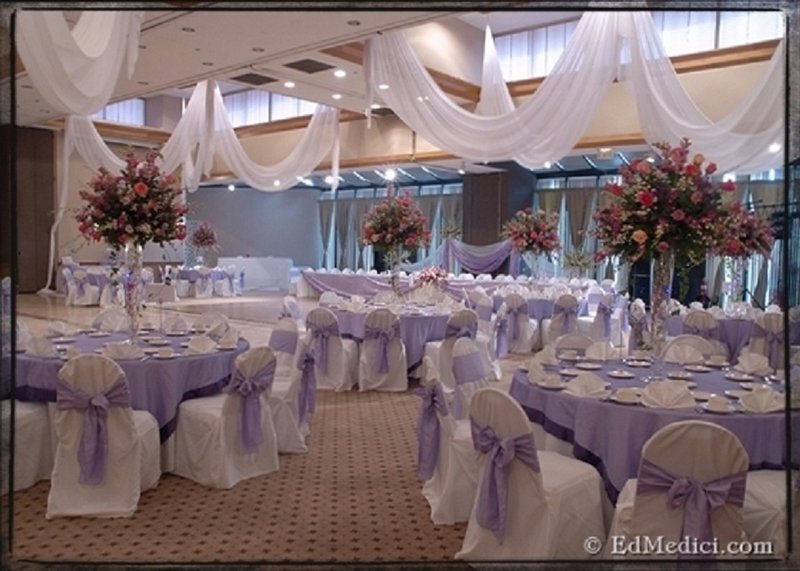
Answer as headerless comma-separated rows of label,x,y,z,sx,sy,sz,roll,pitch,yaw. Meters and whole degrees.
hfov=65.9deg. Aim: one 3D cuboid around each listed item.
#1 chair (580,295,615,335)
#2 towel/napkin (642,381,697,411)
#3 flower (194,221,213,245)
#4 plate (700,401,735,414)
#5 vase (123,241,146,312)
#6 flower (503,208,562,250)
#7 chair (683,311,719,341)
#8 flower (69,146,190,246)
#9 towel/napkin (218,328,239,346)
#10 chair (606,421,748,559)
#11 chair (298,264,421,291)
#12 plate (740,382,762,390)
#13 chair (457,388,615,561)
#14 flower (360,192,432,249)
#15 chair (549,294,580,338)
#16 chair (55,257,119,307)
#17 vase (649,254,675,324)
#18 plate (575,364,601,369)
chair,2.482,0.378,7.596,0.282,0.619,0.552,1,9,19
towel/napkin,1.678,0.684,3.844,0.203,0.083,0.213,0,2,16
flower,-5.010,-1.226,15.744,0.515,0.477,0.372,-7,10,-29
plate,1.974,0.748,3.798,0.177,0.055,0.092,3,-5,-9
vase,-2.178,-0.065,5.055,0.194,0.571,0.196,-10,12,-39
flower,2.129,-0.849,9.858,0.798,0.654,0.830,-1,9,12
chair,3.162,0.407,6.451,0.268,0.375,0.337,7,18,34
flower,-2.246,-0.650,5.262,0.785,0.890,0.824,4,4,-4
towel/napkin,-1.497,0.460,5.383,0.145,0.062,0.128,-31,50,-26
chair,1.540,1.065,3.619,0.798,1.013,0.658,1,-2,10
chair,-1.325,-0.065,14.360,0.349,0.529,3.072,-10,11,-42
plate,2.405,0.682,4.213,0.160,0.043,0.092,2,3,-37
chair,0.795,1.067,4.006,0.979,1.216,0.802,-13,15,-42
flower,-0.067,-0.701,7.684,0.673,0.758,0.697,2,-2,-9
chair,2.192,0.421,8.269,0.378,0.615,0.268,0,9,16
chair,-6.949,-0.051,13.579,1.056,0.718,1.581,-2,3,-43
vase,1.820,0.024,4.251,0.108,0.486,0.126,13,2,-12
plate,1.427,0.606,4.643,0.119,0.043,0.070,2,-5,-9
